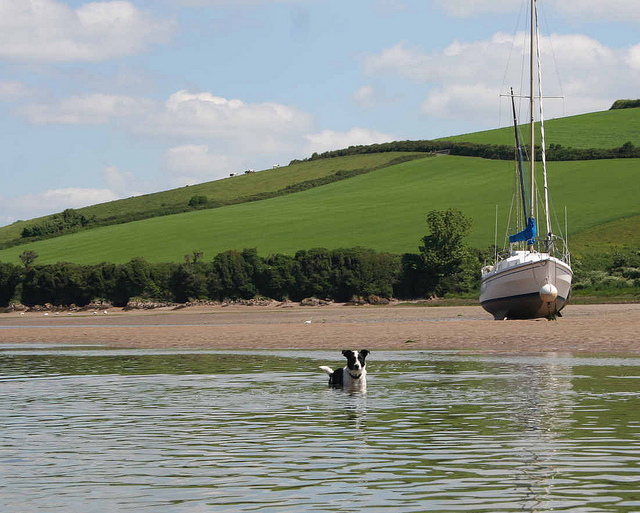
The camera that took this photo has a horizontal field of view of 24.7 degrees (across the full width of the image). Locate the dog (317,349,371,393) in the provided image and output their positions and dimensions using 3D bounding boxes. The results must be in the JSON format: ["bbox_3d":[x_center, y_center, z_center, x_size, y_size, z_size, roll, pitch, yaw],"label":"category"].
[{"bbox_3d":[1.333,5.553,71.840,1.927,1.881,1.884,-5,4,4],"label":"dog"}]

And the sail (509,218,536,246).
[{"bbox_3d":[14.153,-1.764,102.387,1.963,1.735,2.017,2,-1,26],"label":"sail"}]
